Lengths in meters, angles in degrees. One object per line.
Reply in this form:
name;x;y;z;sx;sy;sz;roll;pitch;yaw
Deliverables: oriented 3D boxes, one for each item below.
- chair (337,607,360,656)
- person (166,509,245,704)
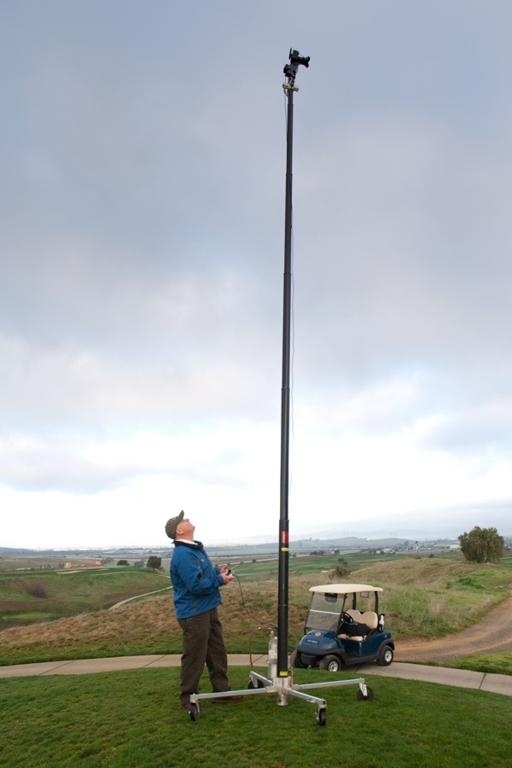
chair;1.717;4.664;12.337;0.341;0.697;0.490;-3;-11;1
person;-0.662;2.643;7.750;0.741;2.270;0.818;-12;-14;41
